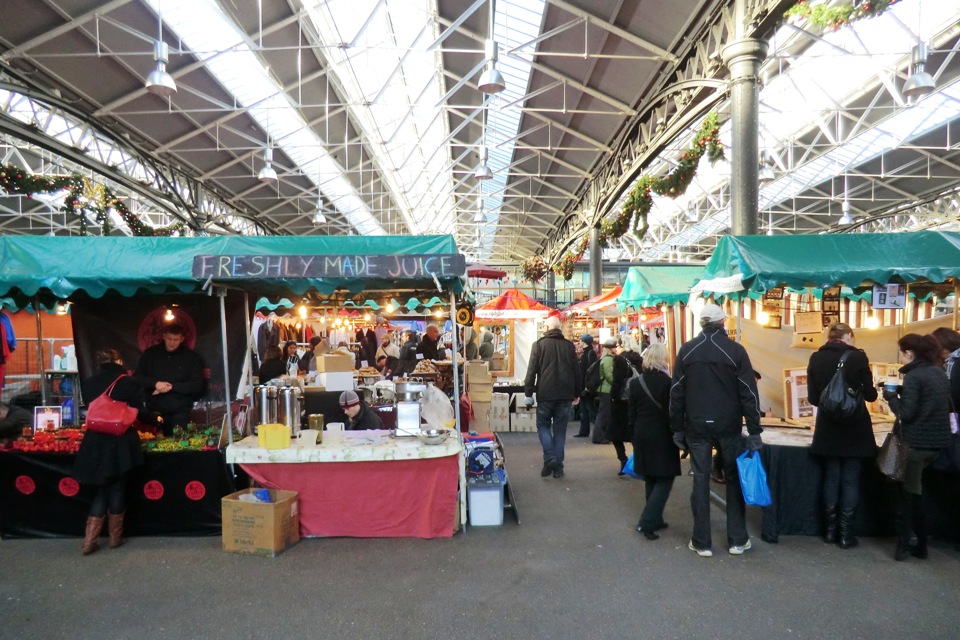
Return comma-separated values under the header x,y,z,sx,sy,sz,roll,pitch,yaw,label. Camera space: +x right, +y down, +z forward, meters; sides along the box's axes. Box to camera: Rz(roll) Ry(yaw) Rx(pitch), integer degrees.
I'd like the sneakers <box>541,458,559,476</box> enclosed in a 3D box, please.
x,y,z,sx,sy,sz,roll,pitch,yaw,label
1.051,2.230,11.236,0.147,0.138,0.328,5,-40,-15,sneakers

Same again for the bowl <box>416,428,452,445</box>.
x,y,z,sx,sy,sz,roll,pitch,yaw,label
-0.539,1.397,8.946,0.350,0.180,0.195,0,-5,-5,bowl

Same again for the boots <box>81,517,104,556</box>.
x,y,z,sx,sy,sz,roll,pitch,yaw,label
-4.596,2.533,8.859,0.206,0.428,0.376,2,-5,-27,boots

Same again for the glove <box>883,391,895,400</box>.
x,y,z,sx,sy,sz,roll,pitch,yaw,label
4.682,0.856,8.532,0.142,0.095,0.143,-3,-1,36,glove

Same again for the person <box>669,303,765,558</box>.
x,y,z,sx,sy,sz,roll,pitch,yaw,label
2.723,1.276,8.669,0.982,2.890,0.463,-1,-5,14,person

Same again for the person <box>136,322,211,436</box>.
x,y,z,sx,sy,sz,roll,pitch,yaw,label
-3.926,0.752,9.469,0.770,1.360,0.307,2,-5,-27,person

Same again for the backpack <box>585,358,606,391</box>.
x,y,z,sx,sy,sz,roll,pitch,yaw,label
2.131,1.072,13.789,0.374,0.492,0.189,2,12,-37,backpack

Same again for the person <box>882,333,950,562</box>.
x,y,z,sx,sy,sz,roll,pitch,yaw,label
4.981,1.434,8.467,0.669,2.554,0.363,-2,-5,25,person

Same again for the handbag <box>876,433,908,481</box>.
x,y,z,sx,sy,sz,roll,pitch,yaw,label
4.742,1.588,8.578,0.229,0.586,0.575,4,-9,13,handbag

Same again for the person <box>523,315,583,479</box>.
x,y,z,sx,sy,sz,roll,pitch,yaw,label
1.126,1.152,11.406,0.811,2.451,0.599,-1,-5,9,person

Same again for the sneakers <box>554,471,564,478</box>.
x,y,z,sx,sy,sz,roll,pitch,yaw,label
1.182,2.313,11.156,0.124,0.087,0.156,4,9,7,sneakers

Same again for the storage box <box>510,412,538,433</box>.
x,y,z,sx,sy,sz,roll,pitch,yaw,label
0.871,2.045,14.843,0.463,0.268,0.446,0,-15,1,storage box

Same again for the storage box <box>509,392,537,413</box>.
x,y,z,sx,sy,sz,roll,pitch,yaw,label
0.870,1.676,14.812,0.668,0.424,0.510,0,-7,-4,storage box

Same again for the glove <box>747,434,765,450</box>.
x,y,z,sx,sy,sz,roll,pitch,yaw,label
3.187,1.424,8.645,0.177,0.161,0.166,-4,-5,29,glove

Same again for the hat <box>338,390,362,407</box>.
x,y,z,sx,sy,sz,roll,pitch,yaw,label
-1.696,1.024,9.778,0.225,0.144,0.216,-5,-1,-2,hat

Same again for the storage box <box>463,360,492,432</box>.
x,y,z,sx,sy,sz,roll,pitch,yaw,label
-0.057,1.355,13.184,0.496,1.309,1.253,-1,9,-2,storage box

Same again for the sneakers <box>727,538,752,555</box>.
x,y,z,sx,sy,sz,roll,pitch,yaw,label
3.023,2.648,8.696,0.121,0.132,0.311,-9,-14,36,sneakers

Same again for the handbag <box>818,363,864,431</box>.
x,y,z,sx,sy,sz,roll,pitch,yaw,label
4.203,0.912,8.652,0.476,0.850,0.582,7,-16,-13,handbag

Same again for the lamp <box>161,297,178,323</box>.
x,y,z,sx,sy,sz,roll,pitch,yaw,label
-4.189,-0.096,10.095,0.240,0.310,0.110,1,-5,-8,lamp

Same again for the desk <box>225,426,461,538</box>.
x,y,z,sx,sy,sz,roll,pitch,yaw,label
-1.345,1.975,9.400,2.397,0.964,1.411,0,-15,1,desk

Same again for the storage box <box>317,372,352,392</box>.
x,y,z,sx,sy,sz,roll,pitch,yaw,label
-2.136,0.917,11.255,0.391,0.227,0.373,0,-10,-10,storage box

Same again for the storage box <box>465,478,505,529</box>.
x,y,z,sx,sy,sz,roll,pitch,yaw,label
0.049,2.305,9.339,0.574,0.683,0.511,0,-10,-4,storage box

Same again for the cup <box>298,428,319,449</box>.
x,y,z,sx,sy,sz,roll,pitch,yaw,label
-2.058,1.419,8.942,0.237,0.156,0.197,-6,-9,7,cup

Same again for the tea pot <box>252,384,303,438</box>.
x,y,z,sx,sy,sz,roll,pitch,yaw,label
-2.563,1.111,9.440,0.728,0.683,0.606,0,1,13,tea pot

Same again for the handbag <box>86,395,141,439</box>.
x,y,z,sx,sy,sz,roll,pitch,yaw,label
-4.319,1.111,8.774,0.522,0.483,0.270,2,-5,-29,handbag

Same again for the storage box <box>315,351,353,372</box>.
x,y,z,sx,sy,sz,roll,pitch,yaw,label
-2.177,0.635,11.360,0.461,0.271,0.426,0,-7,-9,storage box

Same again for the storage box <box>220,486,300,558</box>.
x,y,z,sx,sy,sz,roll,pitch,yaw,label
-2.646,2.405,8.978,0.956,0.535,0.944,3,0,-16,storage box
